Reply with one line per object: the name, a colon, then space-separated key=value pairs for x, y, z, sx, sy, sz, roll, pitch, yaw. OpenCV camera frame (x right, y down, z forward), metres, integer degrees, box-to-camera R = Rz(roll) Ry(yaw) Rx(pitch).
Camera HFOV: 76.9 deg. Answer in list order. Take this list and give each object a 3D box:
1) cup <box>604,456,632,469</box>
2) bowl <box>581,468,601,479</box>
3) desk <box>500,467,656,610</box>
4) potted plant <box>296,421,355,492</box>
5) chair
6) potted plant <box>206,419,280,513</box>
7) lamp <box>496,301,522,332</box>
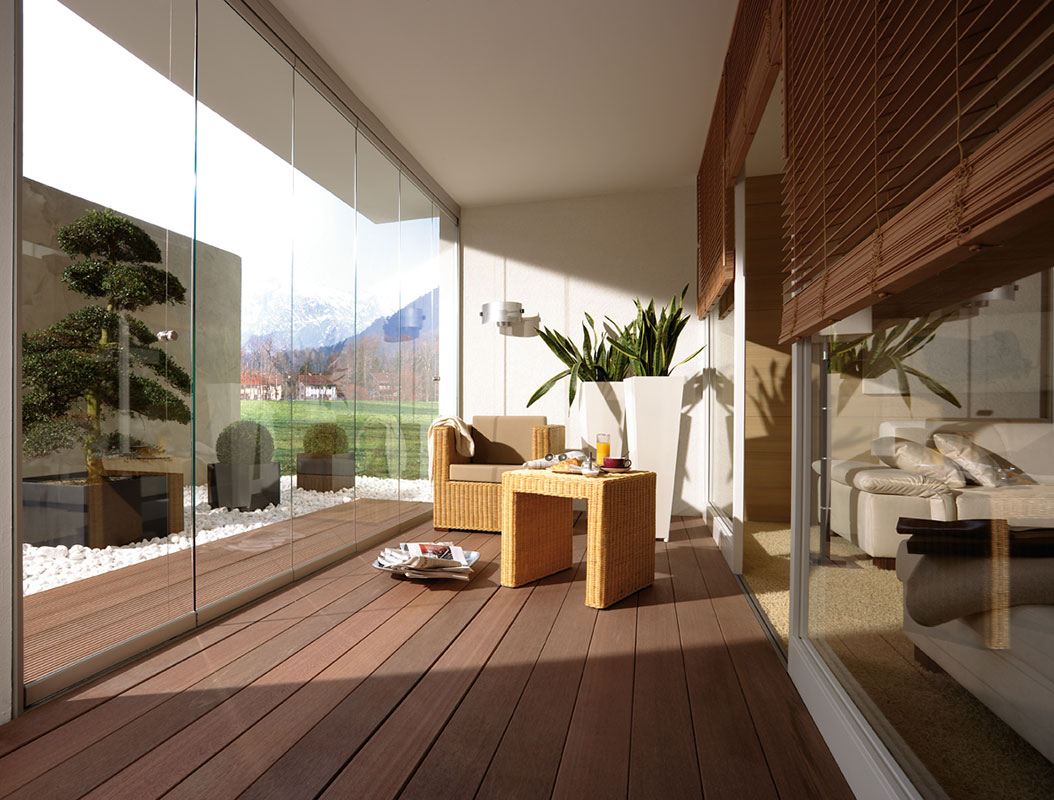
cup: x=0.507 y=0.348 z=3.713 sx=0.096 sy=0.055 sz=0.086 roll=2 pitch=-4 yaw=8
bowl: x=0.343 y=0.376 z=3.516 sx=0.105 sy=0.031 sz=0.159 roll=1 pitch=5 yaw=5
desk: x=0.292 y=0.700 z=3.701 sx=0.907 sy=0.720 sz=1.025 roll=0 pitch=2 yaw=9
potted plant: x=-1.291 y=0.380 z=4.369 sx=0.208 sy=0.458 sz=0.424 roll=-11 pitch=-6 yaw=-15
chair: x=-0.231 y=0.600 z=5.278 sx=0.818 sy=1.018 sz=0.951 roll=3 pitch=-5 yaw=0
potted plant: x=-1.445 y=0.331 z=3.469 sx=0.301 sy=0.607 sz=0.363 roll=-1 pitch=-2 yaw=4
lamp: x=-0.142 y=-0.805 z=6.196 sx=0.182 sy=0.173 sz=0.205 roll=1 pitch=4 yaw=12
